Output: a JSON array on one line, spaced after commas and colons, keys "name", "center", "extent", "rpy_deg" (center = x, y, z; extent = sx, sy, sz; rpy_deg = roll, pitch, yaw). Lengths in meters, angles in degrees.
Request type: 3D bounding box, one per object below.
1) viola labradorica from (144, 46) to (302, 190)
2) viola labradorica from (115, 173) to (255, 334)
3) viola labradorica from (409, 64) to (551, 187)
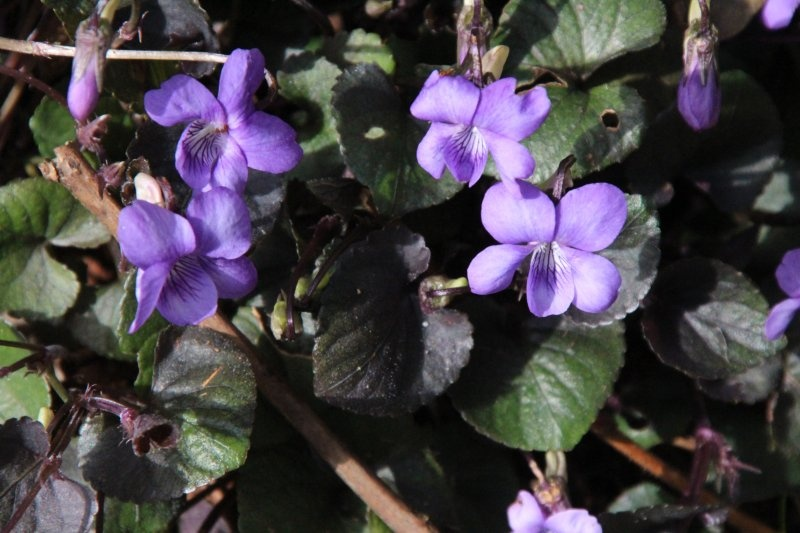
[{"name": "viola labradorica", "center": [-0.358, -0.269, 1.710], "extent": [0.289, 0.347, 0.089], "rpy_deg": [17, 31, -34]}, {"name": "viola labradorica", "center": [-0.436, 0.031, 1.726], "extent": [0.258, 0.372, 0.248], "rpy_deg": [-8, 43, -13]}, {"name": "viola labradorica", "center": [0.160, -0.250, 1.709], "extent": [0.281, 0.292, 0.152], "rpy_deg": [25, 46, 22]}]
